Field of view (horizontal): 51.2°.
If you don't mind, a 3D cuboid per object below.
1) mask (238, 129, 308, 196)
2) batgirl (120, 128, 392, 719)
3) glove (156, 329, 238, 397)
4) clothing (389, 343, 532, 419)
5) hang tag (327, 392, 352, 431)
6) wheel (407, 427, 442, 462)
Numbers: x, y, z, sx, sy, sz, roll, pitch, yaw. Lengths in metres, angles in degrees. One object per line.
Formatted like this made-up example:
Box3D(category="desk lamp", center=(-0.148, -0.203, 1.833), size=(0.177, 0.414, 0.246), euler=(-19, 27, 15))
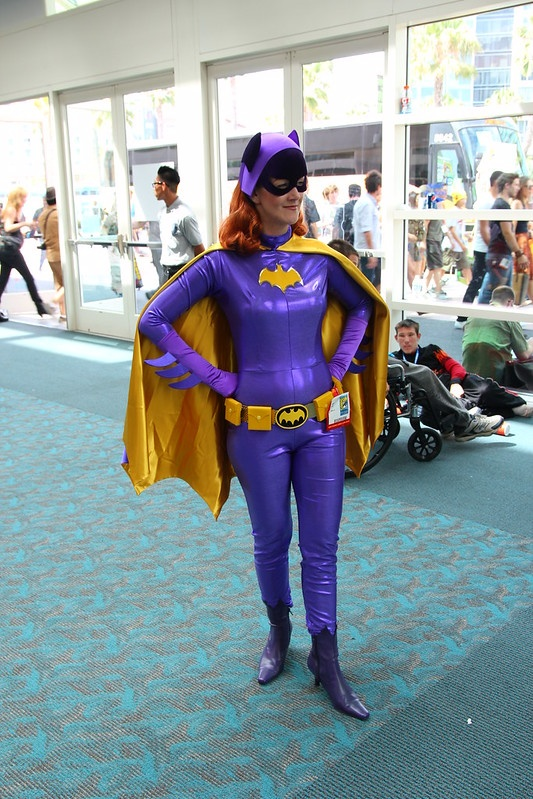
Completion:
Box3D(category="mask", center=(0.004, -0.570, 1.327), size=(0.099, 0.155, 0.155), euler=(-5, 4, -39))
Box3D(category="batgirl", center=(-0.002, 0.079, 1.478), size=(0.812, 1.454, 0.473), euler=(-2, 10, -11))
Box3D(category="glove", center=(-0.184, -0.097, 1.461), size=(0.217, 0.183, 0.099), euler=(-2, 3, 8))
Box3D(category="clothing", center=(1.517, -0.143, 4.467), size=(1.332, 0.422, 0.577), euler=(18, 0, -21))
Box3D(category="hang tag", center=(0.189, 0.030, 1.469), size=(0.014, 0.101, 0.105), euler=(11, 19, 34))
Box3D(category="wheel", center=(1.076, 0.314, 3.787), size=(0.225, 0.218, 0.085), euler=(-2, 11, -10))
